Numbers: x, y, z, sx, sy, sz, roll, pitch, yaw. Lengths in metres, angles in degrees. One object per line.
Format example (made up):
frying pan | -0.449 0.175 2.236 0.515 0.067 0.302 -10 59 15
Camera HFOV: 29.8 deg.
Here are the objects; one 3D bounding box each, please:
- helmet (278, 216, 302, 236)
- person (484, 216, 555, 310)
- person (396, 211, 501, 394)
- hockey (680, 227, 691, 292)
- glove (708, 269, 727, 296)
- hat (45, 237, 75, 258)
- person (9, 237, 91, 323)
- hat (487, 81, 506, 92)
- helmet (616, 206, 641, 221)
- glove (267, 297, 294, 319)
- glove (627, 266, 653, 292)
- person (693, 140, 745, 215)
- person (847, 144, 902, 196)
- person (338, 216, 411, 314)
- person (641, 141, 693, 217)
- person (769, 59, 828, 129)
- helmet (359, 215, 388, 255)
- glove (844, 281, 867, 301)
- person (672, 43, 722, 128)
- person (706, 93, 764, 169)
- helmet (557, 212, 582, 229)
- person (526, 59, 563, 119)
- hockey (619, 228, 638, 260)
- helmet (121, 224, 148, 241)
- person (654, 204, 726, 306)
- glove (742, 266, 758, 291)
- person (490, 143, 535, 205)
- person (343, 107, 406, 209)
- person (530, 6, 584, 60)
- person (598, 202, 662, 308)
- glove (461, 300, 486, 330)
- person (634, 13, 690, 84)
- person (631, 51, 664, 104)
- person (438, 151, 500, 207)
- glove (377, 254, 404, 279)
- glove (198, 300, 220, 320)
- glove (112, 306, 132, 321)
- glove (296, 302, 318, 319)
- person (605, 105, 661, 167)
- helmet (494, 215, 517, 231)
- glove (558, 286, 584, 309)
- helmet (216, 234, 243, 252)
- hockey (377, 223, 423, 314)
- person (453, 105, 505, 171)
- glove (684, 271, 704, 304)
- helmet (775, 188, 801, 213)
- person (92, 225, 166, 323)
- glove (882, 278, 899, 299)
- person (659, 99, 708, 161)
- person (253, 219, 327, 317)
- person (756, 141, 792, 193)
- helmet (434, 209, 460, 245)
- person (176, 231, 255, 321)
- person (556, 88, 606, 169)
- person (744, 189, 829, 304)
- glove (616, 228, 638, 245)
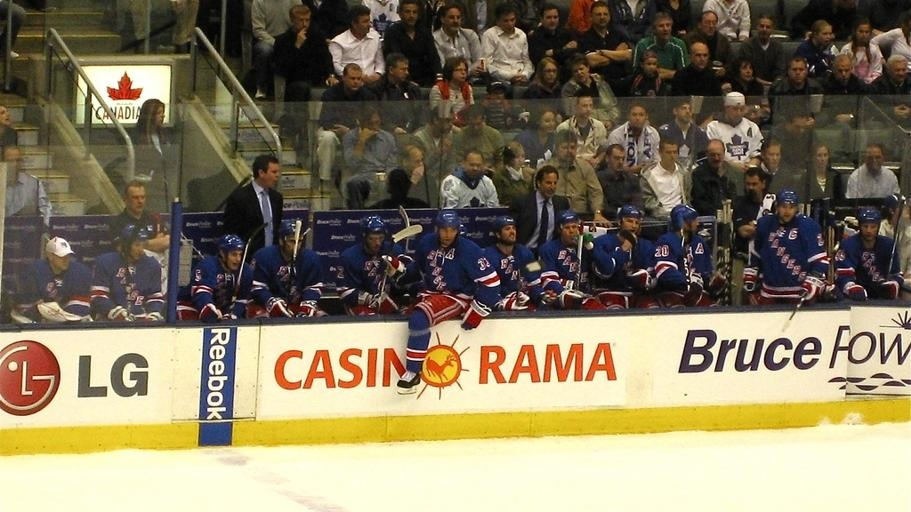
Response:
helmet | -1.887 -0.368 19.726 0.240 0.214 0.179 12 11 14
person | 0.722 0.115 19.798 1.080 1.096 0.886 3 10 21
person | -0.118 0.492 19.617 1.283 2.086 0.569 -1 2 -2
hockey | 2.737 0.000 20.169 0.196 0.795 0.075 -2 2 -36
glove | 3.099 0.289 20.318 0.263 0.275 0.219 20 17 39
hat | -4.329 -0.120 18.716 0.268 0.142 0.188 14 18 16
person | -4.401 0.381 18.784 0.870 1.081 0.687 4 17 -26
hat | 0.511 -2.174 21.585 0.298 0.121 0.401 -2 -1 -1
helmet | 2.038 -0.535 20.143 0.273 0.168 0.101 -1 2 5
glove | -2.024 0.587 19.658 0.284 0.104 0.207 10 6 -12
glove | 2.167 0.267 20.122 0.297 0.173 0.203 -1 2 5
person | 3.132 -0.910 20.317 0.688 0.928 0.763 -6 18 -2
person | 4.982 -0.937 20.360 0.736 0.774 0.469 -1 0 4
person | -0.966 0.110 19.893 0.942 1.223 0.876 -7 18 -26
person | 2.569 -0.941 20.317 0.685 0.959 0.764 -1 14 -10
person | 4.100 -1.923 20.638 0.774 1.054 0.716 2 -11 -3
helmet | -0.953 -0.290 19.917 0.344 0.405 0.453 -4 10 -15
glove | 4.750 0.402 20.387 0.289 0.224 0.194 0 2 34
person | 3.158 -2.227 22.296 0.648 1.085 0.609 -1 7 -16
person | 3.310 -1.461 20.252 0.794 0.996 0.609 -4 12 -21
helmet | 1.314 -0.469 20.020 0.219 0.187 0.100 -1 2 -8
person | 1.185 -2.120 21.683 0.618 0.785 0.535 -4 8 -35
hockey | 2.038 -0.189 20.136 0.211 0.275 0.102 -32 -6 30
helmet | -3.540 -0.277 18.815 0.231 0.108 0.150 -2 2 7
person | 2.734 0.106 20.225 0.885 1.401 0.734 3 5 -18
glove | 3.512 0.269 20.410 0.201 0.257 0.271 2 -4 2
person | 0.656 -1.007 20.113 0.653 0.890 0.334 -9 12 -28
person | -1.003 -1.179 20.022 0.608 1.165 0.153 -1 1 -2
person | 1.311 -3.021 22.924 0.664 0.796 0.420 -2 2 -15
person | 2.066 0.089 20.220 0.859 1.287 0.879 1 13 11
glove | 0.209 0.680 19.482 0.222 0.346 0.138 31 19 -9
person | 2.716 -2.779 22.765 0.974 0.926 0.655 -4 19 -8
person | 2.475 -2.414 22.342 0.425 0.595 0.755 -1 2 16
person | 0.124 -0.863 20.205 0.811 0.743 0.450 -3 8 -39
glove | -0.748 0.100 19.767 0.229 0.141 0.281 9 11 -25
glove | -2.790 0.612 19.359 0.194 0.150 0.200 -3 3 -45
glove | -3.699 0.636 18.937 0.178 0.136 0.193 -11 4 -26
glove | -1.703 0.594 19.748 0.243 0.148 0.222 -2 2 -12
person | 2.137 -1.400 20.324 0.630 0.755 0.469 -2 5 -22
helmet | 0.552 -0.410 19.855 0.209 0.156 0.165 -30 -12 34
glove | 1.318 0.471 19.958 0.225 0.097 0.292 0 10 -12
helmet | -2.576 -0.167 19.475 0.218 0.194 0.182 10 8 22
hockey | -0.658 0.166 19.839 0.445 1.231 0.287 4 44 -11
person | 0.284 -1.429 20.155 0.670 0.744 0.483 -2 19 3
glove | 2.765 0.369 20.221 0.133 0.337 0.264 12 3 20
helmet | 3.926 -0.676 20.209 0.212 0.226 0.250 5 -22 8
person | -3.598 0.221 18.874 0.849 1.067 0.752 3 5 -28
glove | 5.198 0.375 20.426 0.158 0.261 0.099 2 3 18
person | 2.705 -1.484 20.359 0.664 0.855 0.531 0 0 -18
person | -1.956 0.184 19.703 0.877 1.168 0.968 3 15 2
person | 3.759 -1.106 20.295 0.588 0.698 0.393 -4 10 -12
helmet | -0.089 -0.339 19.555 0.259 0.442 0.213 -1 2 -1
person | -2.709 0.214 19.489 0.353 0.945 0.903 0 2 44
person | 1.498 -1.495 20.149 0.584 0.801 0.144 -2 2 -19
person | 3.929 0.245 20.425 1.050 2.036 0.720 1 24 16
glove | 2.025 -0.266 20.156 0.190 0.064 0.186 25 -14 16
